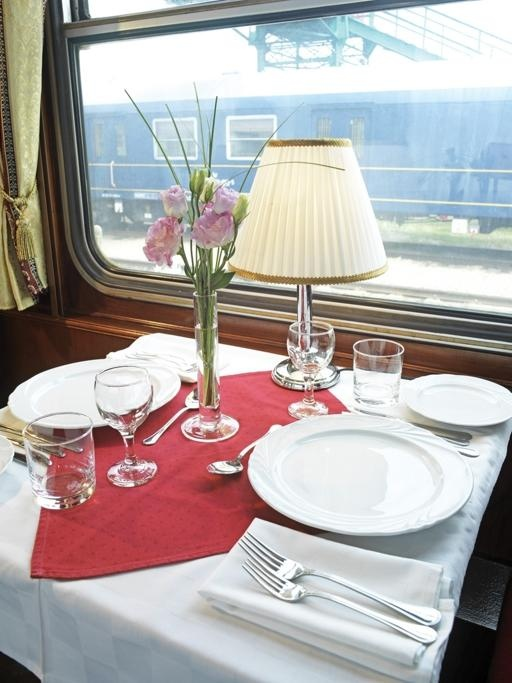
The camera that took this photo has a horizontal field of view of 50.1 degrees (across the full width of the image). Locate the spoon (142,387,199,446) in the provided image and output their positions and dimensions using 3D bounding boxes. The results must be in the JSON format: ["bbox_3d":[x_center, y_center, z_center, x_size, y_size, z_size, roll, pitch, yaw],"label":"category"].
[{"bbox_3d":[-0.131,0.115,0.889,0.029,0.022,0.165,5,21,19],"label":"spoon"}]

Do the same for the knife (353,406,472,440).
[{"bbox_3d":[0.239,0.123,0.819,0.151,0.006,0.020,10,19,34],"label":"knife"}]

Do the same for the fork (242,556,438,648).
[{"bbox_3d":[0.073,0.227,0.473,0.137,0.019,0.022,13,24,31],"label":"fork"}]

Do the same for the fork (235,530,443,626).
[{"bbox_3d":[0.072,0.218,0.501,0.171,0.024,0.024,11,31,29],"label":"fork"}]

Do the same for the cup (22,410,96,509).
[{"bbox_3d":[-0.217,0.137,0.701,0.105,0.112,0.107,-1,13,0],"label":"cup"}]

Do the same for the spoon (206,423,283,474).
[{"bbox_3d":[-0.022,0.131,0.786,0.033,0.019,0.155,3,23,24],"label":"spoon"}]

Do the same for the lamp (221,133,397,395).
[{"bbox_3d":[0.082,-0.175,0.895,0.314,0.450,0.301,-1,20,-1],"label":"lamp"}]
